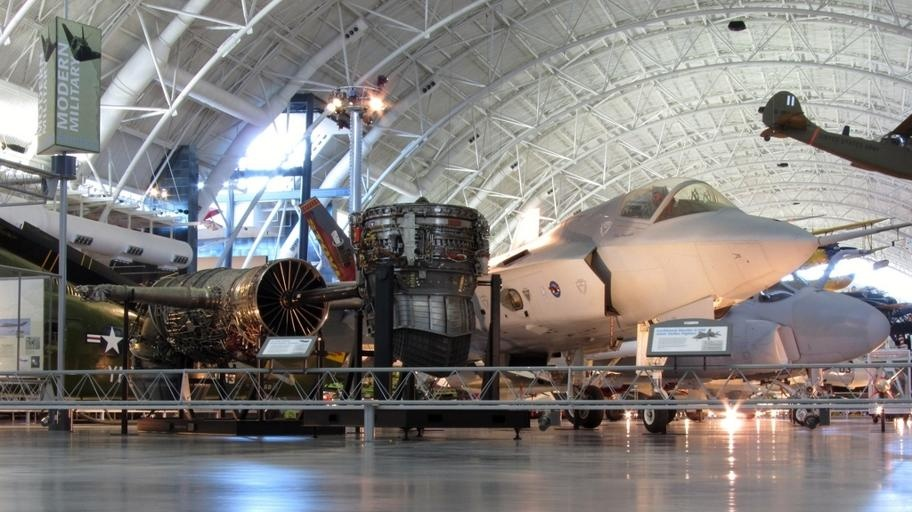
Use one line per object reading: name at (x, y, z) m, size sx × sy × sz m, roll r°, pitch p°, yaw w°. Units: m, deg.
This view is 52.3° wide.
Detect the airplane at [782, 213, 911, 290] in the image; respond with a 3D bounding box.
airplane at (24.891, -0.577, 58.591) m, size 6.783 × 2.195 × 6.913 m, roll -20°, pitch -10°, yaw 40°

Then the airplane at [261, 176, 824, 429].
airplane at (2.588, 1.855, 31.278) m, size 13.815 × 4.318 × 11.992 m, roll -11°, pitch -11°, yaw 28°
